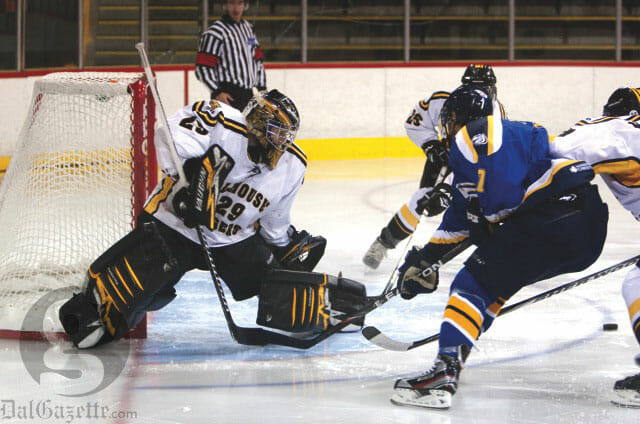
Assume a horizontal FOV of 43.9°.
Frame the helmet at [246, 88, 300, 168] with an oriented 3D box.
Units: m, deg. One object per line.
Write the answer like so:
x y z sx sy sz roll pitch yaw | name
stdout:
-0.256 -0.418 4.101 0.286 0.401 0.111 5 10 -1 | helmet

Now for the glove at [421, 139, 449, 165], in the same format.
0.781 -0.409 5.289 0.069 0.161 0.178 -20 -5 -32 | glove

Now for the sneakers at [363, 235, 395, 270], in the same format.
0.415 0.281 5.450 0.169 0.104 0.188 27 59 22 | sneakers

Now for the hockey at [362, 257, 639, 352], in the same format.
0.970 0.500 4.180 1.381 0.126 0.150 -15 -20 4 | hockey

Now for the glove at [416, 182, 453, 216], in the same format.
0.737 -0.069 5.159 0.256 0.154 0.098 -38 20 13 | glove

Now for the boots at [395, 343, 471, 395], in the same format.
0.529 0.747 3.697 0.377 0.235 0.118 -9 -29 32 | boots

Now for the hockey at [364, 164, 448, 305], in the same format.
0.582 0.160 5.341 0.178 0.137 1.423 19 49 26 | hockey

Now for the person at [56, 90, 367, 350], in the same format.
-0.610 0.158 4.774 1.667 1.503 1.215 17 -8 38 | person
